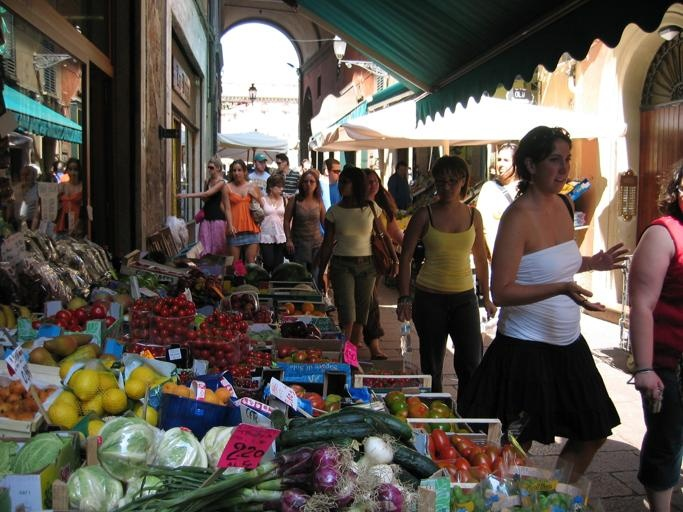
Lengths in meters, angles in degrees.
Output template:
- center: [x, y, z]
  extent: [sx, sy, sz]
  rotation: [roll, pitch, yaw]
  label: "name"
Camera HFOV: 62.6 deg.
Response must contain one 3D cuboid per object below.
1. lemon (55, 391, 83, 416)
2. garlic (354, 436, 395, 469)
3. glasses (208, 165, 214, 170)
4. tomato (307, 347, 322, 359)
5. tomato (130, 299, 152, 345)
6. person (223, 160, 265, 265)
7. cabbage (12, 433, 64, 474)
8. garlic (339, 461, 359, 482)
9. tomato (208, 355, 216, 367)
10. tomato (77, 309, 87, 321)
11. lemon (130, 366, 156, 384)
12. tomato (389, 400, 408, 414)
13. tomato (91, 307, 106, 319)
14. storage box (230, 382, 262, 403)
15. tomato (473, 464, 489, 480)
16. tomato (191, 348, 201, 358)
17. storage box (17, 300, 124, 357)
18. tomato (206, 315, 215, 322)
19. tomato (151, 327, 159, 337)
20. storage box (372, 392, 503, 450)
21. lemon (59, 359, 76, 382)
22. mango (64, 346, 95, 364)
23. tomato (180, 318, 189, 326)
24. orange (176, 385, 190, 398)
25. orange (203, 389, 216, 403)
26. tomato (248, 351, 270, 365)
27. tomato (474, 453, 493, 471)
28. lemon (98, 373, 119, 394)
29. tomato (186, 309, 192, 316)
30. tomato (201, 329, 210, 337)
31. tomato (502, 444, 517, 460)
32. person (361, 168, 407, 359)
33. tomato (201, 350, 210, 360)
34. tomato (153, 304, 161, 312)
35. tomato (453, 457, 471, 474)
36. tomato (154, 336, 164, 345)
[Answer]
- center: [-1.347, 0.705, 2.794]
  extent: [0.087, 0.123, 0.096]
  rotation: [-16, 12, 17]
  label: "lemon"
- center: [0.141, 0.787, 2.254]
  extent: [0.097, 0.117, 0.111]
  rotation: [8, 5, 18]
  label: "garlic"
- center: [-2.269, -1.526, 9.728]
  extent: [0.061, 0.072, 0.085]
  rotation: [-2, 2, -6]
  label: "glasses"
- center: [-0.187, 0.660, 3.846]
  extent: [0.057, 0.066, 0.054]
  rotation: [-3, 6, -41]
  label: "tomato"
- center: [-1.379, 0.435, 3.836]
  extent: [0.139, 0.263, 0.227]
  rotation: [0, 5, -22]
  label: "tomato"
- center: [-1.646, -0.748, 9.394]
  extent: [0.518, 1.829, 0.665]
  rotation: [0, 3, -17]
  label: "person"
- center: [-1.253, 0.810, 2.322]
  extent: [0.148, 0.066, 0.180]
  rotation: [4, 30, 13]
  label: "cabbage"
- center: [0.029, 0.804, 2.101]
  extent: [0.047, 0.038, 0.062]
  rotation: [-12, -9, -4]
  label: "garlic"
- center: [-0.818, 0.662, 3.551]
  extent: [0.041, 0.059, 0.046]
  rotation: [5, 12, -3]
  label: "tomato"
- center: [-1.746, 0.391, 3.773]
  extent: [0.054, 0.078, 0.057]
  rotation: [4, -7, -21]
  label: "tomato"
- center: [-1.043, 0.621, 2.949]
  extent: [0.066, 0.079, 0.092]
  rotation: [-10, -6, 38]
  label: "lemon"
- center: [0.326, 0.881, 3.277]
  extent: [0.067, 0.084, 0.078]
  rotation: [4, 1, -2]
  label: "tomato"
- center: [-1.680, 0.384, 3.868]
  extent: [0.078, 0.096, 0.100]
  rotation: [-11, 10, -14]
  label: "tomato"
- center: [-0.541, 0.768, 3.165]
  extent: [0.129, 0.096, 0.201]
  rotation: [1, -2, -4]
  label: "storage box"
- center: [0.656, 1.000, 2.642]
  extent: [0.065, 0.057, 0.053]
  rotation: [-2, 37, -30]
  label: "tomato"
- center: [-0.929, 0.616, 3.586]
  extent: [0.051, 0.062, 0.057]
  rotation: [-1, -7, 2]
  label: "tomato"
- center: [-1.707, 0.443, 3.600]
  extent: [0.379, 0.242, 0.372]
  rotation: [2, 12, -5]
  label: "storage box"
- center: [-0.903, 0.436, 3.869]
  extent: [0.049, 0.049, 0.047]
  rotation: [-1, 27, 20]
  label: "tomato"
- center: [-1.248, 0.504, 3.738]
  extent: [0.047, 0.068, 0.052]
  rotation: [1, 3, -3]
  label: "tomato"
- center: [0.540, 0.854, 3.348]
  extent: [0.684, 0.280, 0.581]
  rotation: [0, 10, -14]
  label: "storage box"
- center: [-1.455, 0.610, 2.965]
  extent: [0.075, 0.111, 0.083]
  rotation: [1, -7, -5]
  label: "lemon"
- center: [-1.457, 0.547, 3.138]
  extent: [0.130, 0.067, 0.069]
  rotation: [-12, -9, 12]
  label: "mango"
- center: [-1.046, 0.438, 3.748]
  extent: [0.048, 0.044, 0.038]
  rotation: [8, -3, 36]
  label: "tomato"
- center: [-0.784, 0.669, 2.783]
  extent: [0.055, 0.033, 0.058]
  rotation: [9, 33, -45]
  label: "orange"
- center: [-0.667, 0.698, 2.834]
  extent: [0.048, 0.070, 0.053]
  rotation: [-2, 8, -8]
  label: "orange"
- center: [-0.555, 0.686, 3.786]
  extent: [0.087, 0.038, 0.093]
  rotation: [8, 6, -19]
  label: "tomato"
- center: [0.688, 0.985, 2.723]
  extent: [0.046, 0.058, 0.068]
  rotation: [-19, 9, -1]
  label: "tomato"
- center: [-1.190, 0.647, 2.870]
  extent: [0.071, 0.090, 0.093]
  rotation: [-3, -20, 23]
  label: "lemon"
- center: [-1.044, 0.377, 3.822]
  extent: [0.031, 0.037, 0.041]
  rotation: [15, 4, 6]
  label: "tomato"
- center: [-0.889, 0.497, 3.665]
  extent: [0.065, 0.029, 0.106]
  rotation: [-1, 6, -31]
  label: "tomato"
- center: [0.825, 0.961, 2.756]
  extent: [0.049, 0.077, 0.055]
  rotation: [-22, -6, 24]
  label: "tomato"
- center: [0.203, 0.117, 6.275]
  extent: [0.788, 2.290, 0.739]
  rotation: [-4, 14, -7]
  label: "person"
- center: [-0.867, 0.625, 3.569]
  extent: [0.046, 0.065, 0.050]
  rotation: [7, -5, -5]
  label: "tomato"
- center: [-1.242, 0.351, 3.784]
  extent: [0.043, 0.062, 0.047]
  rotation: [7, 2, 18]
  label: "tomato"
- center: [0.577, 0.993, 2.664]
  extent: [0.044, 0.071, 0.050]
  rotation: [-8, -23, -10]
  label: "tomato"
- center: [-1.204, 0.553, 3.708]
  extent: [0.075, 0.050, 0.015]
  rotation: [4, 4, 16]
  label: "tomato"
